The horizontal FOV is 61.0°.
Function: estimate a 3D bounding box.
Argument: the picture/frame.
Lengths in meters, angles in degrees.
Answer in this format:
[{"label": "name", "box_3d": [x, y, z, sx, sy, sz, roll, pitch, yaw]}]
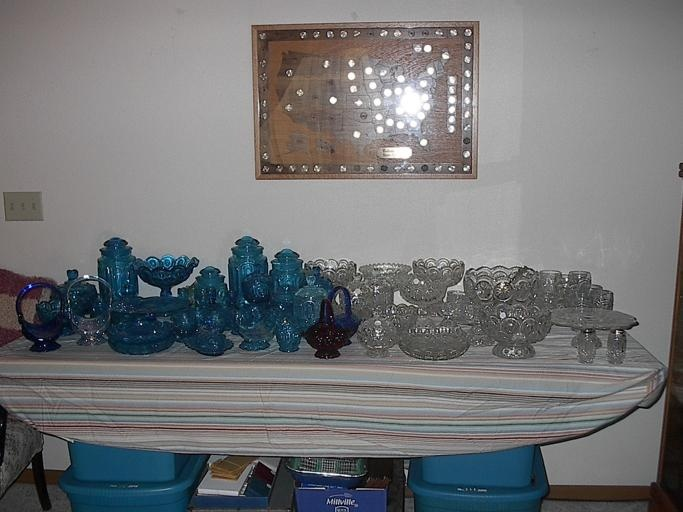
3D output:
[{"label": "picture/frame", "box_3d": [0.109, -0.737, 2.769, 1.061, 0.709, 0.054, 1, 9, 5]}]

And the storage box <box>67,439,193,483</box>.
[{"label": "storage box", "box_3d": [-0.902, 0.863, 2.409, 0.290, 0.105, 0.235, 1, 4, -11]}]

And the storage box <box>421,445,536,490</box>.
[{"label": "storage box", "box_3d": [0.576, 0.865, 2.417, 0.277, 0.102, 0.237, -1, -3, 4]}]
